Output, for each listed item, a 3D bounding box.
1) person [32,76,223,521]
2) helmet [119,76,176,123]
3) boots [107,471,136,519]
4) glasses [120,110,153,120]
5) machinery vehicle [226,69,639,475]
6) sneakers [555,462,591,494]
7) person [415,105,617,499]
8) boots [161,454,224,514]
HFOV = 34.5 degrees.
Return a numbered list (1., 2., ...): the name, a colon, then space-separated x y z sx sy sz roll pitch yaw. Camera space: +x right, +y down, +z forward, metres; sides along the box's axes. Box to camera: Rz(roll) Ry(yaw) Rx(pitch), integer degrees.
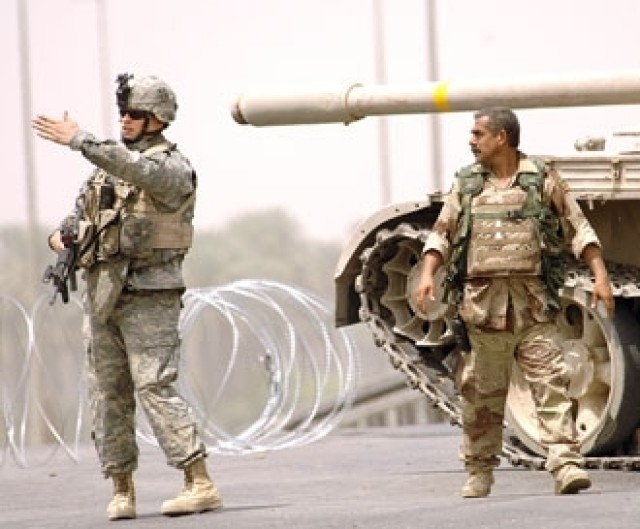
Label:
1. person: -1.180 0.177 6.674 0.972 2.884 0.869 -2 -2 -6
2. helmet: -1.161 -1.118 6.870 0.407 0.327 0.302 -11 23 -25
3. boots: -1.292 1.484 6.665 0.184 0.274 0.342 -2 -3 -12
4. glasses: -1.221 -0.980 6.757 0.093 0.030 0.099 4 -13 6
5. machinery vehicle: 0.930 -0.059 8.493 2.243 1.903 3.620 -1 4 -44
6. sneakers: 1.608 1.368 6.628 0.133 0.157 0.289 -1 -25 -11
7. person: 1.266 0.230 6.807 1.148 2.576 0.385 -2 -2 8
8. boots: -0.851 1.420 6.585 0.164 0.351 0.450 -23 -16 40
